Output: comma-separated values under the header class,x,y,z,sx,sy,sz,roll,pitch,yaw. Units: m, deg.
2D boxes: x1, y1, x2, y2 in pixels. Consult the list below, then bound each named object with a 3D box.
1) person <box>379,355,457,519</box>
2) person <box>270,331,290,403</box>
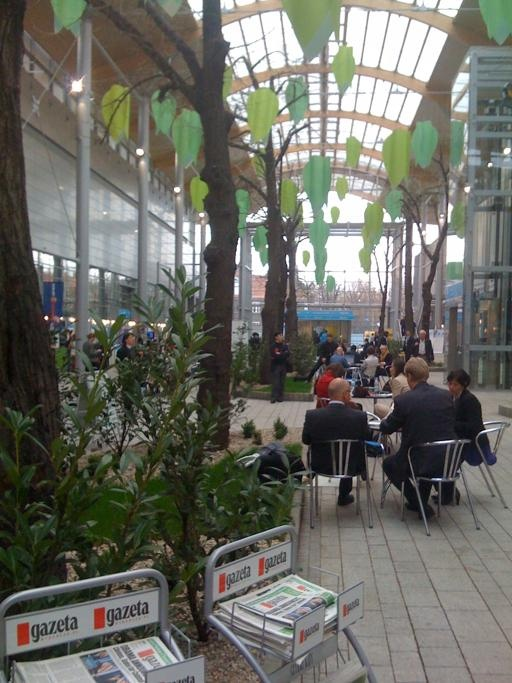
class,x,y,z,sx,sy,sz,roll,pitch,yaw
person,1.650,0.883,5.218,0.724,1.383,0.589,0,0,22
person,0.712,0.811,15.304,0.513,1.595,0.994,0,0,2
